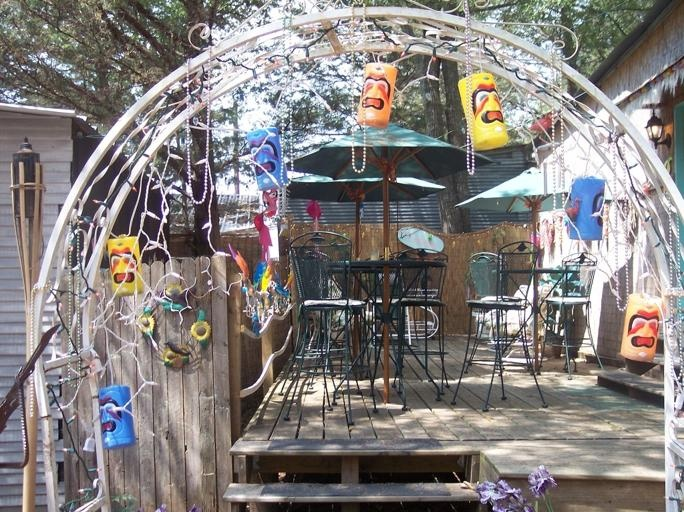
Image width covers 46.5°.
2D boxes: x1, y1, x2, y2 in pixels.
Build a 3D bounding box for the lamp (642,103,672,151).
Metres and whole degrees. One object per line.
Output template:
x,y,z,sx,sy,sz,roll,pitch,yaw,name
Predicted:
3.283,-1.389,8.230,0.238,0.539,0.183,-8,-7,37,lamp
